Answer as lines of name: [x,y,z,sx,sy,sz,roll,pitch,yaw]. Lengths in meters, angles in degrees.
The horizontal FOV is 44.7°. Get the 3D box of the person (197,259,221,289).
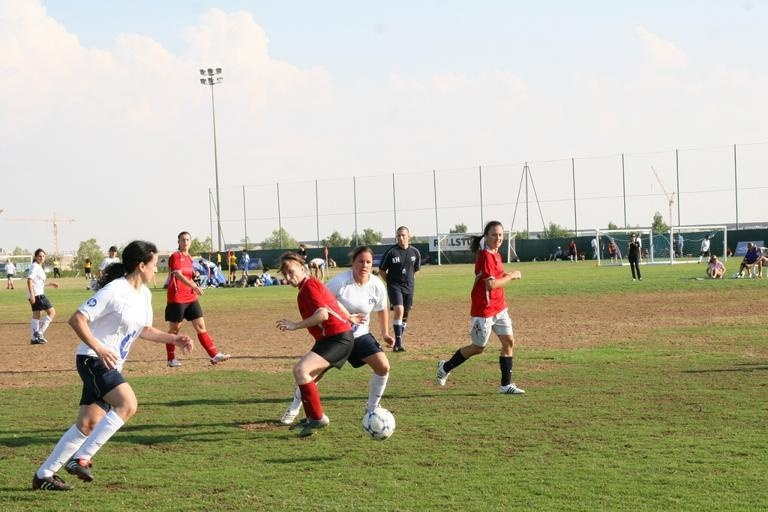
person: [-7.515,0.746,39.937,0.984,1.280,1.867,-4,13,-10]

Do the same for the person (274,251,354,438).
person: [-0.968,1.275,13.547,1.056,2.612,0.678,-2,13,-3]

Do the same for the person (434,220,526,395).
person: [1.682,0.779,15.336,1.441,2.827,1.042,4,14,21]

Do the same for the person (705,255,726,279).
person: [12.485,0.397,35.129,0.577,1.011,0.990,5,26,18]

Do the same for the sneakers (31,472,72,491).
sneakers: [-4.358,2.994,12.370,0.602,0.257,0.202,3,2,-11]

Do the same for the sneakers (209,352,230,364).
sneakers: [-3.102,1.925,17.563,0.360,0.169,0.132,-14,20,22]

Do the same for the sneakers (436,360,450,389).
sneakers: [1.005,1.968,15.600,0.156,0.461,0.191,-6,5,-31]

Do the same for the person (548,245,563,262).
person: [11.285,-0.196,60.965,0.865,0.890,1.030,0,13,4]

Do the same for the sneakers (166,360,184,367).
sneakers: [-3.986,2.035,17.687,0.306,0.133,0.123,-6,-5,40]

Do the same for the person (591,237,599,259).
person: [13.030,-0.558,57.606,0.465,1.404,0.542,7,12,40]

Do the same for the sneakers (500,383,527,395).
sneakers: [2.091,2.159,15.166,0.432,0.186,0.157,1,2,-3]

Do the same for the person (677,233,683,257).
person: [18.065,-0.707,56.853,0.441,1.598,2.278,3,14,17]

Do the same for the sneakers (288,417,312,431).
sneakers: [-1.232,2.512,13.909,0.439,0.190,0.164,1,-6,9]
